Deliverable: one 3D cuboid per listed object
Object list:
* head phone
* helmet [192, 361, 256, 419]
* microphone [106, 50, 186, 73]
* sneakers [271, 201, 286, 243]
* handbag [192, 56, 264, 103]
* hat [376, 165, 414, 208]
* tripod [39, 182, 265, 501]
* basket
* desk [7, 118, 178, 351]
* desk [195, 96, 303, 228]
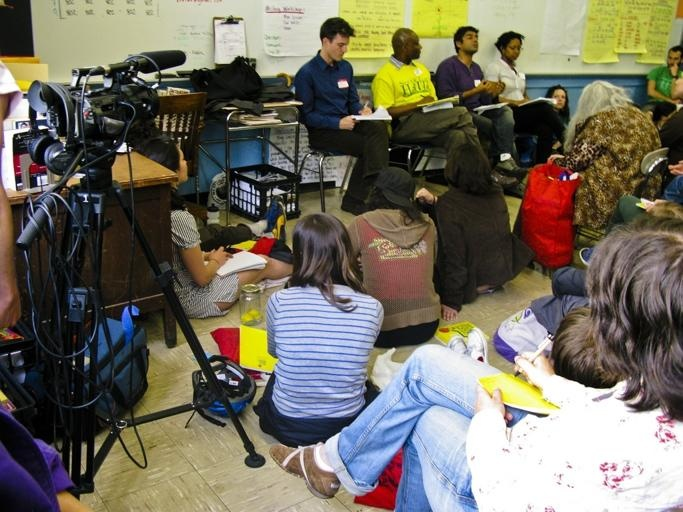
[{"bbox_3d":[-0.755,-0.343,1.443,0.121,0.239,0.151,-10,22,-29],"label":"head phone"},{"bbox_3d":[-0.473,0.548,2.266,0.222,0.145,0.276,-27,7,-29],"label":"helmet"},{"bbox_3d":[-0.552,-0.576,1.600,0.121,0.064,0.266,4,20,7],"label":"microphone"},{"bbox_3d":[-0.438,-0.264,3.998,0.091,0.295,0.125,-6,-11,32],"label":"sneakers"},{"bbox_3d":[-0.881,-1.358,4.182,0.381,0.218,0.487,-4,25,-12],"label":"handbag"},{"bbox_3d":[0.290,-0.385,2.961,0.170,0.122,0.233,0,36,-47],"label":"hat"},{"bbox_3d":[-0.746,0.377,2.170,0.738,1.023,0.734,-16,52,-14],"label":"tripod"},{"bbox_3d":[-0.592,-0.555,4.445,0.493,0.316,0.487,-15,24,-42],"label":"basket"},{"bbox_3d":[-1.120,-0.117,2.718,0.720,0.961,0.984,-5,19,-25],"label":"desk"},{"bbox_3d":[-0.785,-1.091,4.769,0.910,1.210,1.117,-12,29,-27],"label":"desk"}]
